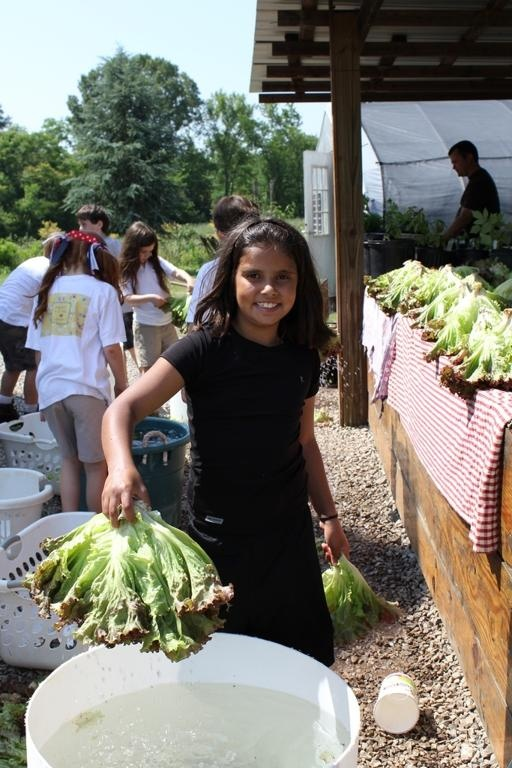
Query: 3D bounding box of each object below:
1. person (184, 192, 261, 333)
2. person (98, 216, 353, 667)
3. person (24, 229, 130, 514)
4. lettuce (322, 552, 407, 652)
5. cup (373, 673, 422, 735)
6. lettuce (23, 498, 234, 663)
[{"bbox_3d":[-0.200,-0.780,3.004,0.415,0.991,0.445,3,12,3],"label":"person"},{"bbox_3d":[-0.021,0.224,1.391,0.533,1.220,0.566,-1,7,0],"label":"person"},{"bbox_3d":[-0.941,-0.079,3.510,0.660,1.653,0.792,-1,7,-7],"label":"person"},{"bbox_3d":[0.420,0.906,2.532,0.208,0.282,0.280,-5,36,22],"label":"lettuce"},{"bbox_3d":[0.484,1.107,1.927,0.142,0.175,0.105,1,4,14],"label":"cup"},{"bbox_3d":[-0.219,0.328,0.986,0.293,0.187,0.357,-3,5,-38],"label":"lettuce"}]
